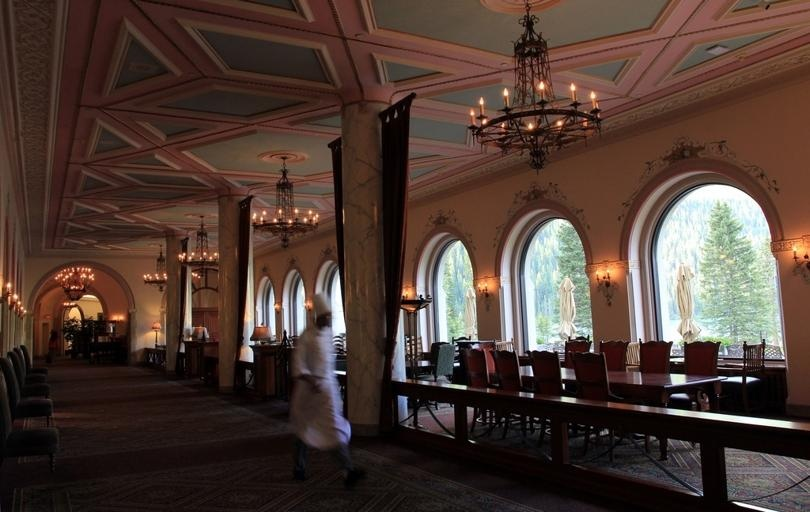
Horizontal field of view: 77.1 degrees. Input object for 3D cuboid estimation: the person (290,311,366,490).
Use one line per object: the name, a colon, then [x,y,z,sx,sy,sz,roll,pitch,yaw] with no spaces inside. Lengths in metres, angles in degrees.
person: [-1.061,1.837,6.577,0.800,2.227,0.320,0,-6,-13]

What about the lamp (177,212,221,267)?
lamp: [-7.973,-0.662,19.577,1.458,1.887,1.426,11,-18,-34]

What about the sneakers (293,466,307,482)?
sneakers: [-1.377,2.888,6.853,0.187,0.180,0.183,1,-6,19]

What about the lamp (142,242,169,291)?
lamp: [-12.093,0.628,24.807,0.847,2.022,4.472,1,-6,-26]

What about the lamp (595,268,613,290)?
lamp: [4.553,0.516,11.692,0.134,0.415,0.412,5,-13,-24]

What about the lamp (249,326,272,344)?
lamp: [-3.897,2.120,13.926,0.515,0.330,0.519,-3,-13,12]

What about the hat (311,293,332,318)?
hat: [-1.066,0.650,6.791,0.284,0.315,0.292,-3,-1,-24]

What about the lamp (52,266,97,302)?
lamp: [-16.320,1.320,25.275,1.193,1.672,3.090,3,-7,-36]

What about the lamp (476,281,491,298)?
lamp: [2.170,0.922,14.164,0.141,0.421,0.419,9,-14,-28]
